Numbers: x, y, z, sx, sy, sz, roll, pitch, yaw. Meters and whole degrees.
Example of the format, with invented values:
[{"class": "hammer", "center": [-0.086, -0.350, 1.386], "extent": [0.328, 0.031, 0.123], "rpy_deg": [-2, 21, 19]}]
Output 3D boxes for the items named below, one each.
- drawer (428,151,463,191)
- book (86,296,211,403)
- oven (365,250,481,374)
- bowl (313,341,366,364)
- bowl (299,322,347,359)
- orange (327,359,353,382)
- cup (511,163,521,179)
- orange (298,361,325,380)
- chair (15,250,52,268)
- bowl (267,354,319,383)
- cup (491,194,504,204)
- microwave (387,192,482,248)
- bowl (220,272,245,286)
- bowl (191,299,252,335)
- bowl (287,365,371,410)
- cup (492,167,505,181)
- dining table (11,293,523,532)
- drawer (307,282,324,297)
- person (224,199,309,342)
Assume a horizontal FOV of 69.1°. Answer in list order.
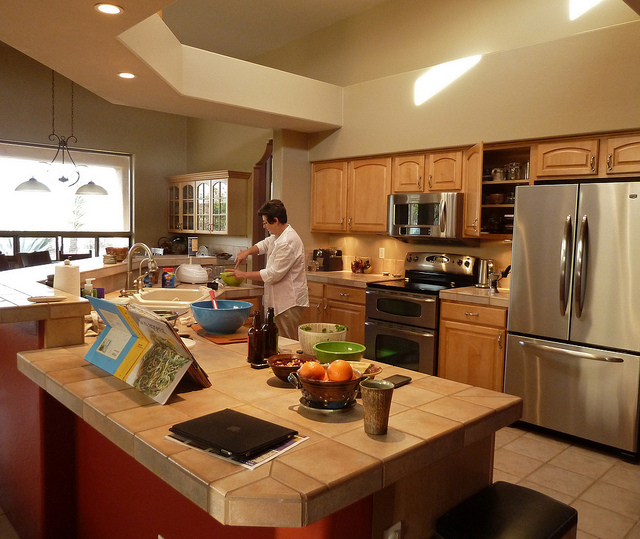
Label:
[{"class": "drawer", "center": [1.255, -0.965, 4.618], "extent": [0.071, 0.373, 0.382], "rpy_deg": [-6, 10, -44]}, {"class": "book", "center": [-0.678, 0.270, 1.783], "extent": [0.559, 0.293, 0.218], "rpy_deg": [10, 9, 36]}, {"class": "oven", "center": [0.989, 0.522, 4.683], "extent": [0.705, 1.392, 0.779], "rpy_deg": [-4, 8, -43]}, {"class": "bowl", "center": [0.073, 0.326, 1.821], "extent": [0.164, 0.074, 0.171], "rpy_deg": [2, 7, 0]}, {"class": "bowl", "center": [0.006, 0.298, 2.027], "extent": [0.148, 0.081, 0.162], "rpy_deg": [0, 9, 0]}, {"class": "orange", "center": [0.064, 0.321, 1.465], "extent": [0.078, 0.059, 0.056], "rpy_deg": [2, 7, 2]}, {"class": "cup", "center": [1.743, -0.870, 4.140], "extent": [0.084, 0.137, 0.062], "rpy_deg": [4, 8, 20]}, {"class": "orange", "center": [-0.025, 0.326, 1.485], "extent": [0.061, 0.061, 0.061], "rpy_deg": [0, 4, 5]}, {"class": "chair", "center": [-3.468, -0.126, 5.668], "extent": [0.142, 0.152, 0.405], "rpy_deg": [4, 7, 15]}, {"class": "bowl", "center": [-0.124, 0.354, 1.762], "extent": [0.141, 0.055, 0.143], "rpy_deg": [1, 4, 0]}, {"class": "cup", "center": [1.622, -0.635, 4.246], "extent": [0.083, 0.065, 0.083], "rpy_deg": [-1, 9, 0]}, {"class": "microwave", "center": [1.128, -0.486, 4.764], "extent": [0.506, 0.527, 0.843], "rpy_deg": [-1, 5, -43]}, {"class": "bowl", "center": [-0.800, 0.079, 4.112], "extent": [0.192, 0.140, 0.230], "rpy_deg": [2, 7, 0]}, {"class": "bowl", "center": [-0.543, 0.272, 2.516], "extent": [0.353, 0.153, 0.340], "rpy_deg": [1, 4, 0]}, {"class": "bowl", "center": [0.029, 0.383, 1.551], "extent": [0.210, 0.127, 0.208], "rpy_deg": [5, 5, 0]}, {"class": "cup", "center": [1.612, -0.855, 4.198], "extent": [0.107, 0.104, 0.102], "rpy_deg": [-1, 7, 0]}, {"class": "dining table", "center": [-0.275, 0.417, 1.778], "extent": [1.608, 0.542, 1.108], "rpy_deg": [8, 10, 43]}, {"class": "drawer", "center": [-0.055, 0.239, 5.354], "extent": [0.031, 0.157, 0.266], "rpy_deg": [-5, 10, -42]}, {"class": "person", "center": [-0.455, 0.318, 4.306], "extent": [0.658, 1.852, 0.683], "rpy_deg": [-2, 12, -4]}]
